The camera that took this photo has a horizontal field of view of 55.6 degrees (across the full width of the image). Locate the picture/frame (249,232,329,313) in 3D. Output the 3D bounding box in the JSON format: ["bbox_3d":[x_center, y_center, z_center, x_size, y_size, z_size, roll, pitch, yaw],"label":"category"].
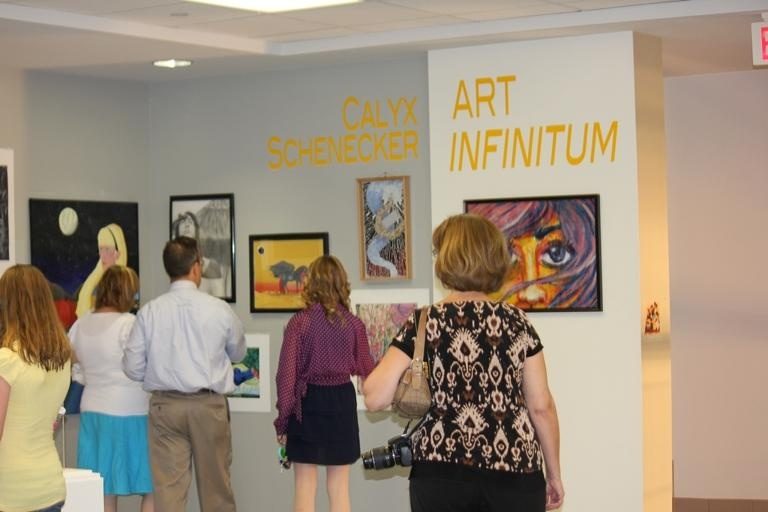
[{"bbox_3d":[-0.855,0.154,6.773,0.686,0.699,0.034,-1,0,15],"label":"picture/frame"}]

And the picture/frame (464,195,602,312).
[{"bbox_3d":[1.235,-0.001,5.657,0.902,0.812,0.040,0,1,19],"label":"picture/frame"}]

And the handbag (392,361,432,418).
[{"bbox_3d":[0.164,0.736,3.999,0.121,0.281,0.268,8,-3,11],"label":"handbag"}]

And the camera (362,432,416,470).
[{"bbox_3d":[0.038,1.137,4.214,0.337,0.172,0.170,-21,20,10],"label":"camera"}]
